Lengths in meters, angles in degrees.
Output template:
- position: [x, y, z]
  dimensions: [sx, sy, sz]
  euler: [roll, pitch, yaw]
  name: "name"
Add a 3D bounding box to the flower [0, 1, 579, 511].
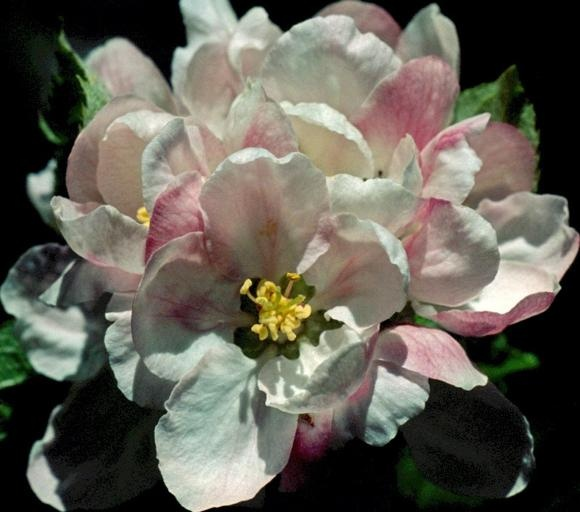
- position: [0.062, 0.039, 1.054]
  dimensions: [0.628, 0.390, 0.638]
  euler: [21, 96, 15]
  name: "flower"
